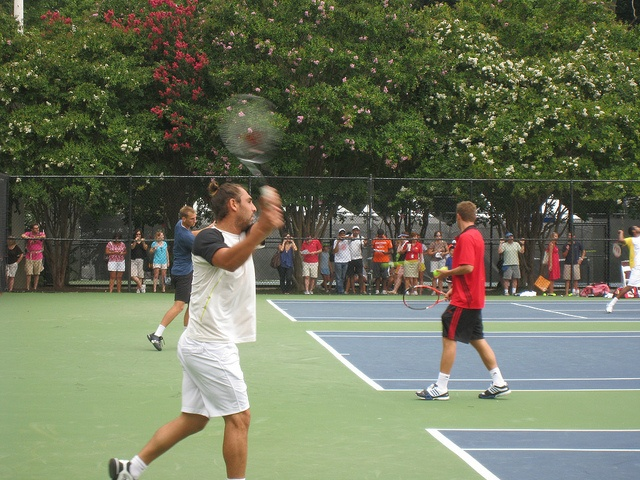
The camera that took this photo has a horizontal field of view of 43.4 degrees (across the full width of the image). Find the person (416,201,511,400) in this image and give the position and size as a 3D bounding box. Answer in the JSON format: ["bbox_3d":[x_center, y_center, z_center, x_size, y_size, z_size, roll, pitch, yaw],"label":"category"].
[{"bbox_3d":[2.241,1.139,12.568,1.272,2.658,0.568,0,-2,4],"label":"person"}]

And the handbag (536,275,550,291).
[{"bbox_3d":[7.279,1.418,26.437,0.454,0.475,0.623,0,-2,14],"label":"handbag"}]

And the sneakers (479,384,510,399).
[{"bbox_3d":[2.708,2.338,12.505,0.527,0.234,0.195,-2,-1,-9],"label":"sneakers"}]

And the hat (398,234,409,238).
[{"bbox_3d":[2.674,-0.155,25.405,0.202,0.077,0.207,-3,-3,38],"label":"hat"}]

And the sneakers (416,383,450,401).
[{"bbox_3d":[1.740,2.360,12.519,0.524,0.247,0.212,5,-6,-5],"label":"sneakers"}]

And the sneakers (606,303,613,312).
[{"bbox_3d":[7.400,1.744,20.655,0.123,0.130,0.290,2,9,12],"label":"sneakers"}]

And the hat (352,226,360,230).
[{"bbox_3d":[1.235,-0.422,26.895,0.209,0.123,0.320,1,-8,-2],"label":"hat"}]

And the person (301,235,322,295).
[{"bbox_3d":[-0.243,0.811,24.835,0.571,1.729,1.254,0,-2,0],"label":"person"}]

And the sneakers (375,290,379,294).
[{"bbox_3d":[1.776,1.626,25.169,0.158,0.180,0.091,1,7,12],"label":"sneakers"}]

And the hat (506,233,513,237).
[{"bbox_3d":[6.010,-0.162,25.646,0.257,0.119,0.366,1,-1,-1],"label":"hat"}]

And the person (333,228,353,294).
[{"bbox_3d":[0.709,0.665,25.046,0.523,2.006,0.815,0,-2,2],"label":"person"}]

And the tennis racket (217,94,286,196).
[{"bbox_3d":[-0.823,-1.317,9.915,0.502,1.433,0.255,-14,-25,2],"label":"tennis racket"}]

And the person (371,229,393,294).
[{"bbox_3d":[1.927,0.676,25.138,0.583,1.987,1.143,0,-2,6],"label":"person"}]

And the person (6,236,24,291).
[{"bbox_3d":[-8.919,0.734,23.687,0.426,1.573,2.089,1,-3,-21],"label":"person"}]

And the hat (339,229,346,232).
[{"bbox_3d":[0.742,-0.325,26.281,0.208,0.113,0.310,1,-4,-1],"label":"hat"}]
